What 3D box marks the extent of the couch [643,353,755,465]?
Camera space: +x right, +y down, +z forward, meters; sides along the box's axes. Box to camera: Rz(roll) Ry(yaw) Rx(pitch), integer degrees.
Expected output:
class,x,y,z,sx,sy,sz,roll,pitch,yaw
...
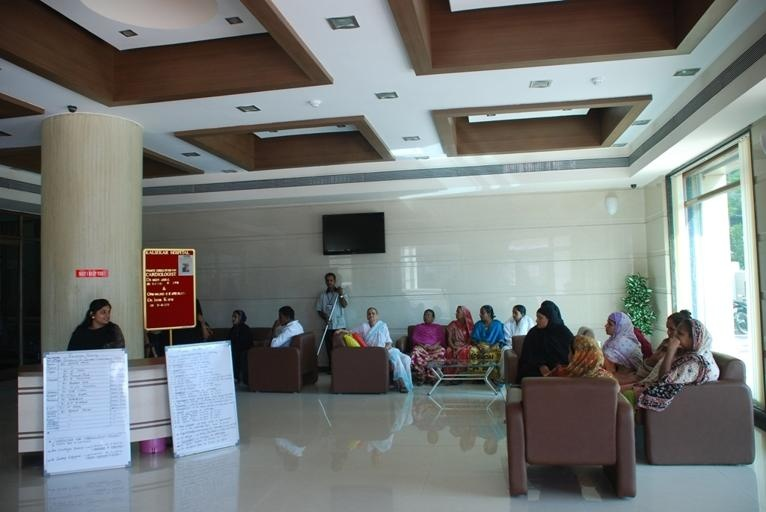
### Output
class,x,y,z,sx,sy,sz,roll,pitch,yaw
couch,3.558,1.570,6.350,1.115,1.003,1.550,4,4,14

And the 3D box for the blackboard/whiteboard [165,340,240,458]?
class,x,y,z,sx,sy,sz,roll,pitch,yaw
blackboard/whiteboard,-2.229,1.717,6.475,0.778,1.291,0.403,-4,6,-22

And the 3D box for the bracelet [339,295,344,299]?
class,x,y,z,sx,sy,sz,roll,pitch,yaw
bracelet,-0.870,0.834,10.854,0.073,0.049,0.063,3,5,-19

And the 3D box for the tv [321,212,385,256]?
class,x,y,z,sx,sy,sz,roll,pitch,yaw
tv,-0.586,-0.472,10.981,0.994,0.625,0.097,-1,1,9

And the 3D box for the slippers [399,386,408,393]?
class,x,y,z,sx,sy,sz,roll,pitch,yaw
slippers,0.342,2.264,8.966,0.074,0.049,0.130,1,-5,-32

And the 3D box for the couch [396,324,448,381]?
class,x,y,z,sx,sy,sz,roll,pitch,yaw
couch,0.799,1.718,9.762,0.712,0.593,1.046,0,-6,2

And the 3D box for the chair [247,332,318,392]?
class,x,y,z,sx,sy,sz,roll,pitch,yaw
chair,-1.827,1.941,9.714,1.013,0.873,1.384,-3,-8,4

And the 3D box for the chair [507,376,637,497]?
class,x,y,z,sx,sy,sz,roll,pitch,yaw
chair,1.908,1.725,5.688,1.279,1.037,1.232,-1,-4,7
